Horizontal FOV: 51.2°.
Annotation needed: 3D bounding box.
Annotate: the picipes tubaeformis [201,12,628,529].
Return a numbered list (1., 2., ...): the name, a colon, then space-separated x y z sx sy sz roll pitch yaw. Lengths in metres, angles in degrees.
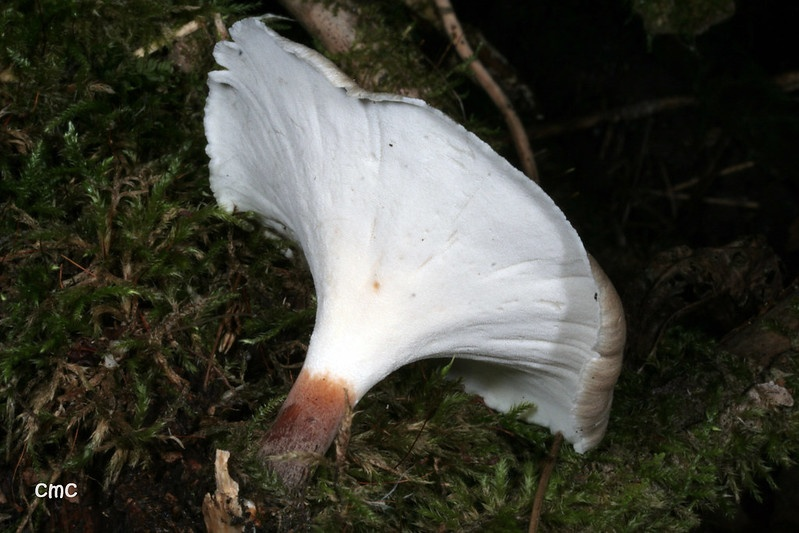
1. picipes tubaeformis: -0.047 0.019 3.606 2.251 1.428 0.927 36 48 13
